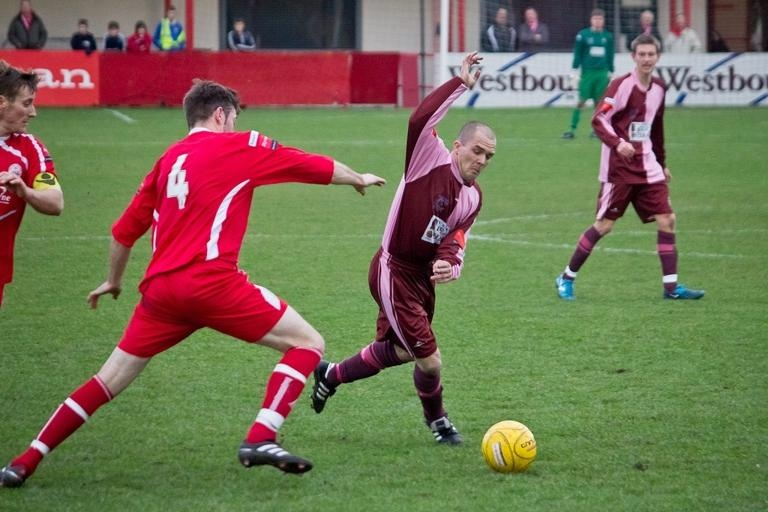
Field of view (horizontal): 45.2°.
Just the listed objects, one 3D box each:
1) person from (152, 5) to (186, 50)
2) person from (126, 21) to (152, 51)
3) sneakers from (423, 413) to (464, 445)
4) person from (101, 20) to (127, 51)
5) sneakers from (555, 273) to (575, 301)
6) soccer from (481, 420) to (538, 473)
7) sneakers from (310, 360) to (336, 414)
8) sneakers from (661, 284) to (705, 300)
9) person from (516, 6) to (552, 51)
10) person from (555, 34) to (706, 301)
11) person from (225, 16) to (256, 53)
[{"bbox_3d":[-5.768,-6.081,24.584,0.748,1.261,1.321,-1,9,-14],"label":"person"},{"bbox_3d":[-6.310,-5.599,23.567,0.587,0.870,1.352,-2,9,-17],"label":"person"},{"bbox_3d":[0.445,1.260,6.704,0.130,0.140,0.331,-32,39,-7],"label":"sneakers"},{"bbox_3d":[-6.999,-5.688,23.880,0.449,0.689,0.533,-3,9,-23],"label":"person"},{"bbox_3d":[1.770,0.296,9.023,0.115,0.133,0.304,-4,25,-5],"label":"sneakers"},{"bbox_3d":[0.852,1.298,6.435,0.355,0.334,0.347,-3,-35,-27],"label":"soccer"},{"bbox_3d":[-0.441,0.977,7.043,0.229,0.415,0.157,2,4,26],"label":"sneakers"},{"bbox_3d":[2.917,0.345,8.998,0.410,0.162,0.144,-2,3,1],"label":"sneakers"},{"bbox_3d":[3.693,-5.578,22.714,0.708,1.044,1.506,2,8,7],"label":"person"},{"bbox_3d":[2.467,-0.917,9.153,1.241,2.556,0.942,4,9,20],"label":"person"},{"bbox_3d":[-3.851,-5.958,24.944,0.625,0.831,0.959,-1,9,-14],"label":"person"}]
